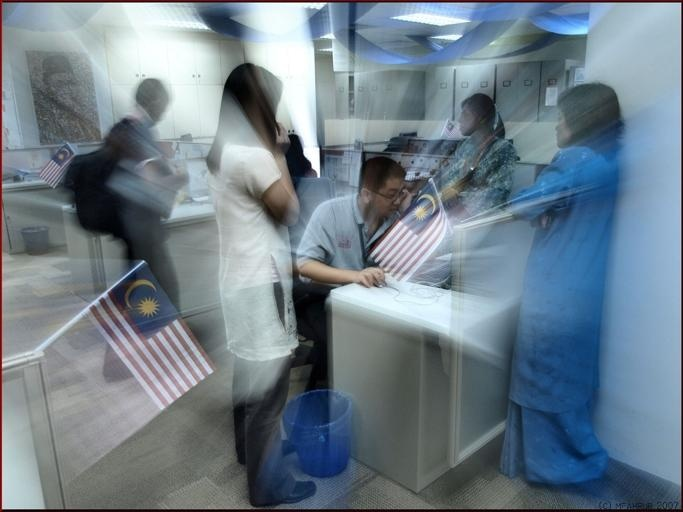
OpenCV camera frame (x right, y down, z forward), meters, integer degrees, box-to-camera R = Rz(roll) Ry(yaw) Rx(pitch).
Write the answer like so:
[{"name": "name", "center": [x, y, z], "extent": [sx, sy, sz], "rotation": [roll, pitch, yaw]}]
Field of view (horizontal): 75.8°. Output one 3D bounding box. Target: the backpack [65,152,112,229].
[{"name": "backpack", "center": [-1.215, -0.302, 2.105], "extent": [0.134, 0.348, 0.270], "rotation": [10, 19, 10]}]

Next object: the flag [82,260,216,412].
[{"name": "flag", "center": [-1.006, 0.420, 2.269], "extent": [0.457, 0.620, 0.027], "rotation": [-42, 5, -19]}]

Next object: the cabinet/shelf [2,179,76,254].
[{"name": "cabinet/shelf", "center": [-2.400, -0.336, 3.489], "extent": [0.556, 0.543, 0.353], "rotation": [-2, 16, -29]}]

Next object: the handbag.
[{"name": "handbag", "center": [-0.973, -0.321, 2.140], "extent": [0.112, 0.310, 0.295], "rotation": [6, 21, 19]}]

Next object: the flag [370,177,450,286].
[{"name": "flag", "center": [0.264, -0.080, 1.731], "extent": [0.274, 0.374, 0.022], "rotation": [40, -11, 6]}]

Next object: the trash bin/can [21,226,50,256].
[{"name": "trash bin/can", "center": [-2.580, -0.139, 3.751], "extent": [0.232, 0.244, 0.247], "rotation": [2, 8, 4]}]

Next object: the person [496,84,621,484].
[{"name": "person", "center": [0.817, 0.143, 1.593], "extent": [0.394, 1.441, 0.361], "rotation": [-2, 20, -1]}]

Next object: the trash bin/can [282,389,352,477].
[{"name": "trash bin/can", "center": [-0.099, 0.683, 1.868], "extent": [0.294, 0.256, 0.323], "rotation": [-2, 16, -3]}]

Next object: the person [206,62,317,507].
[{"name": "person", "center": [-0.252, 0.180, 1.453], "extent": [0.260, 1.515, 0.223], "rotation": [-8, 21, -17]}]
